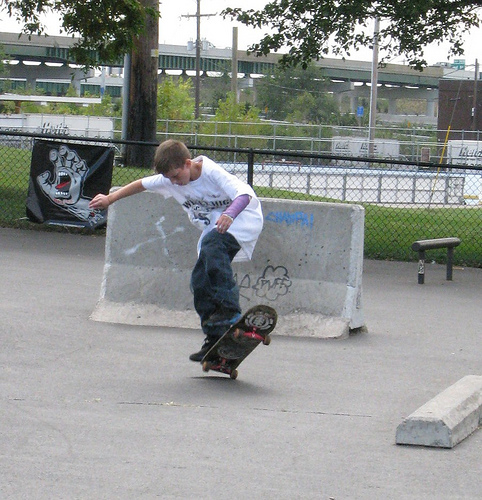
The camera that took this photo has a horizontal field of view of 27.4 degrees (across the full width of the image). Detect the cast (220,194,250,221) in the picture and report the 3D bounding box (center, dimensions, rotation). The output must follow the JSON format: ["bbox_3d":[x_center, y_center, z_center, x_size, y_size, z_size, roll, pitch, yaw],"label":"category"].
[{"bbox_3d":[-0.047,-0.281,6.449,0.117,0.158,0.253,8,11,32],"label":"cast"}]

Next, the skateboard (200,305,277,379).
[{"bbox_3d":[-0.003,0.599,6.457,0.249,0.146,0.828,13,-33,-17],"label":"skateboard"}]
